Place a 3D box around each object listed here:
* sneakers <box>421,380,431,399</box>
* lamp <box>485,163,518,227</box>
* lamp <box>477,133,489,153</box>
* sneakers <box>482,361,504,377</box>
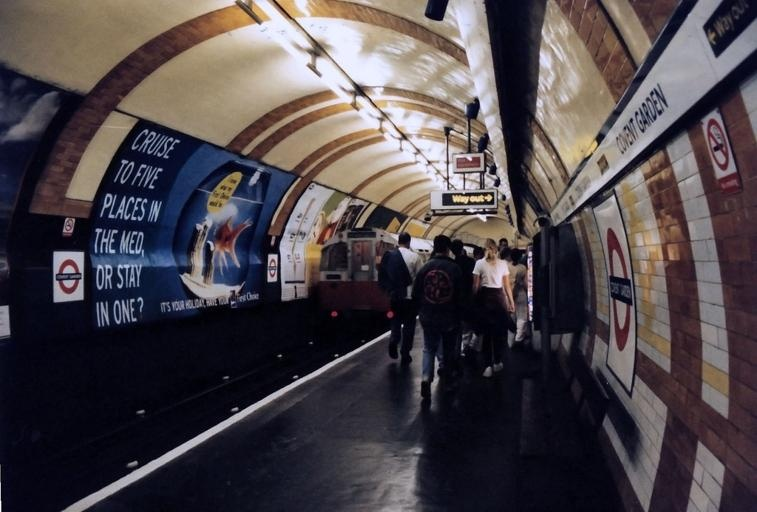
[{"bbox_3d":[0.733,2.040,6.734,0.110,0.325,0.128,-3,-7,12],"label":"sneakers"},{"bbox_3d":[4.680,-2.237,16.395,0.517,0.439,3.654,15,-16,28],"label":"lamp"},{"bbox_3d":[2.767,-2.918,11.358,0.226,0.548,1.466,-2,2,17],"label":"lamp"},{"bbox_3d":[2.069,2.065,7.950,0.153,0.206,0.491,-4,1,29],"label":"sneakers"}]
